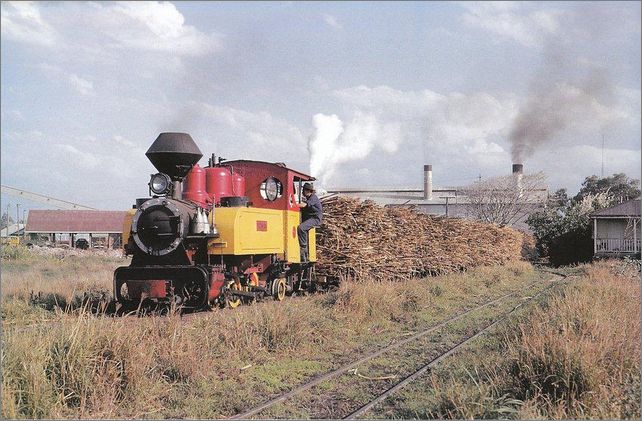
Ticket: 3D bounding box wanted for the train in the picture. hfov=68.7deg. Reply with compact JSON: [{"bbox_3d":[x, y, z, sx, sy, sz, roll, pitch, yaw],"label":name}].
[{"bbox_3d":[-2.492,0.318,12.452,2.360,4.445,5.013,6,4,34],"label":"train"}]
